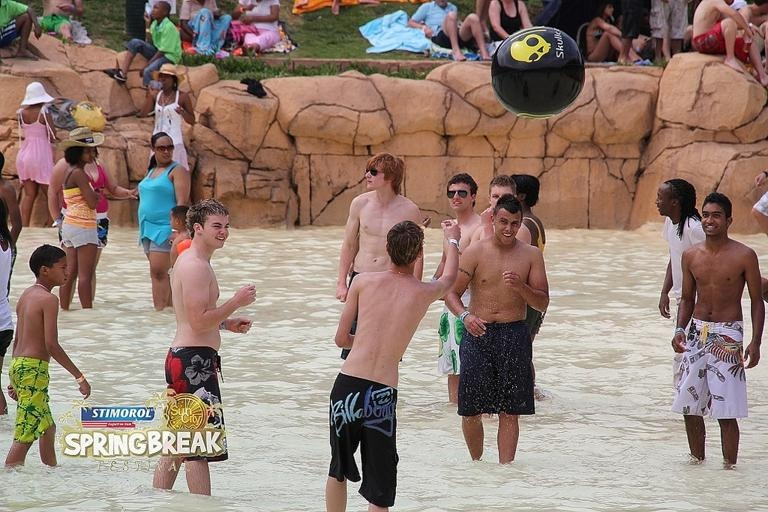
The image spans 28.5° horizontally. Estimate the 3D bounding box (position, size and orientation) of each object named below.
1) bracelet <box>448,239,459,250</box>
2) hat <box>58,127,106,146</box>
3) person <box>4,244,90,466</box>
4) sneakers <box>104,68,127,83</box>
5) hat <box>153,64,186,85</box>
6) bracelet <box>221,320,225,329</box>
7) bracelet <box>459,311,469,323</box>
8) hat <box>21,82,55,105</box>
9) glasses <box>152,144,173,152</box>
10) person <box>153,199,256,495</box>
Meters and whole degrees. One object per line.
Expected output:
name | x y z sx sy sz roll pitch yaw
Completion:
bracelet | 0.782 -0.132 17.120 0.108 0.069 0.102 3 11 2
hat | -4.126 -1.611 20.623 0.468 0.154 0.423 -6 5 -13
person | -3.869 1.126 17.193 0.882 2.480 0.578 0 3 -13
sneakers | -4.777 -3.229 27.020 0.444 0.175 0.172 25 23 -8
hat | -3.549 -2.957 24.761 0.607 0.163 0.594 1 -13 -2
bracelet | -1.791 0.767 16.690 0.063 0.075 0.071 0 -1 -12
bracelet | 0.915 0.681 17.287 0.125 0.107 0.121 -37 -14 -18
hat | -5.571 -2.597 24.227 0.494 0.385 0.361 2 3 24
glasses | -3.003 -1.469 20.547 0.237 0.102 0.141 0 3 -12
person | -2.024 1.018 16.639 1.050 3.252 0.586 0 3 -8
